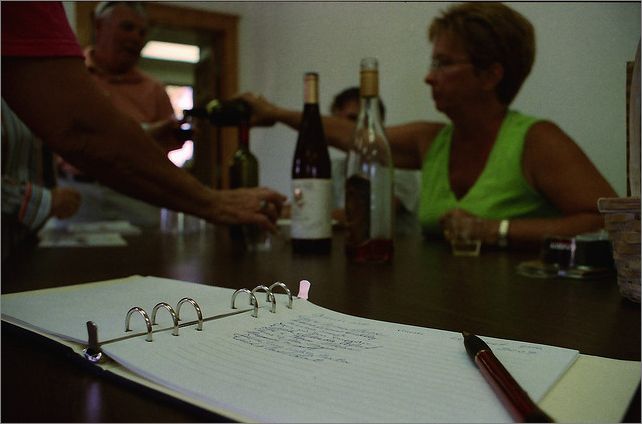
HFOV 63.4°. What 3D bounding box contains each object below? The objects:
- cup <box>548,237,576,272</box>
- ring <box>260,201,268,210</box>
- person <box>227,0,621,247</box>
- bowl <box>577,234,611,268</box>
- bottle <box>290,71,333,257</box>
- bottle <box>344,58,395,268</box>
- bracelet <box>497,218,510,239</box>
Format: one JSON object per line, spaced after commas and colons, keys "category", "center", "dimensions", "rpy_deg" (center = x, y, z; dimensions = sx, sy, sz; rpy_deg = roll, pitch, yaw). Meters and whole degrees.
{"category": "cup", "center": [0.426, 0.071, 0.919], "dimensions": [0.046, 0.048, 0.025], "rpy_deg": [4, 10, 22]}
{"category": "ring", "center": [-0.108, -0.014, 0.972], "dimensions": [0.013, 0.012, 0.013], "rpy_deg": [-5, 0, 0]}
{"category": "person", "center": [0.264, -0.214, 1.287], "dimensions": [0.286, 0.362, 0.692], "rpy_deg": [-1, 3, -31]}
{"category": "bowl", "center": [0.480, 0.071, 0.918], "dimensions": [0.071, 0.047, 0.040], "rpy_deg": [-5, 4, -17]}
{"category": "bottle", "center": [-0.020, -0.100, 1.091], "dimensions": [0.090, 0.374, 0.112], "rpy_deg": [-1, 10, -3]}
{"category": "bottle", "center": [0.096, -0.060, 1.003], "dimensions": [0.091, 0.314, 0.076], "rpy_deg": [0, 10, 3]}
{"category": "bracelet", "center": [0.431, 0.037, 1.222], "dimensions": [0.029, 0.038, 0.039], "rpy_deg": [-7, 17, 18]}
